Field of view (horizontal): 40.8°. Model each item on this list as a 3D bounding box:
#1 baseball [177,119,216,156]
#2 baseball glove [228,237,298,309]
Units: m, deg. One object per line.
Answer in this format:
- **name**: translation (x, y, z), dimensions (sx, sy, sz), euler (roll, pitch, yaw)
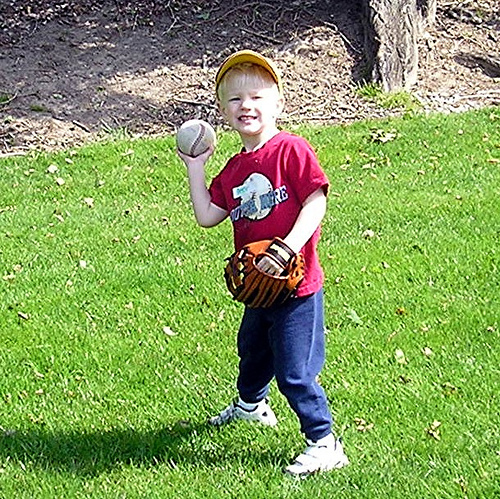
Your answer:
- **baseball**: translation (-0.313, -0.630, 3.846), dimensions (0.166, 0.167, 0.160), euler (15, 23, 33)
- **baseball glove**: translation (0.067, 0.113, 3.349), dimensions (0.317, 0.347, 0.127), euler (4, 19, 4)
